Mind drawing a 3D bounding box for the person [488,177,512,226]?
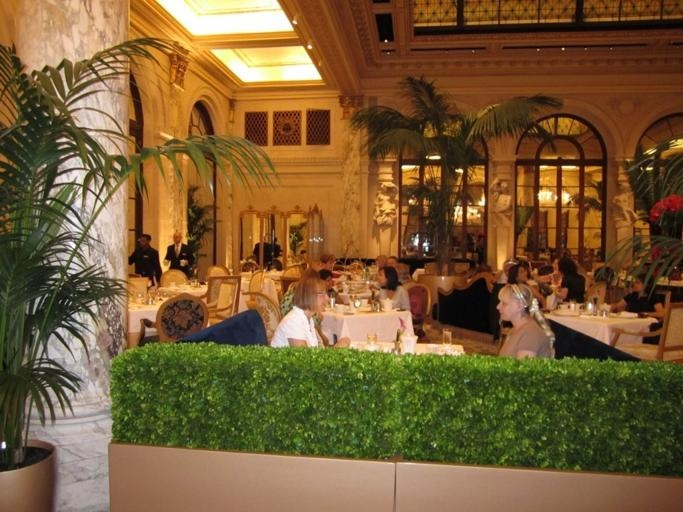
[{"bbox_3d":[3.757,-1.052,13.310,0.531,1.543,0.295,-2,28,13],"label":"person"}]
